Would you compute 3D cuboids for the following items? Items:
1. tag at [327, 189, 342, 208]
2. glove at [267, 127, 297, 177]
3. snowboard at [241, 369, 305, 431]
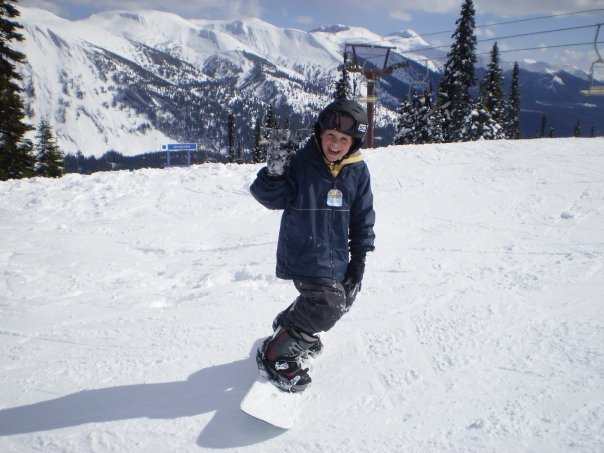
[{"bbox_3d":[0.415,-0.383,7.685,0.262,0.282,0.040,0,11,-7],"label":"tag"},{"bbox_3d":[-0.337,-0.955,7.558,0.357,0.571,0.194,0,11,-2],"label":"glove"},{"bbox_3d":[-0.393,2.299,7.595,0.662,0.405,0.633,7,19,15],"label":"snowboard"}]
